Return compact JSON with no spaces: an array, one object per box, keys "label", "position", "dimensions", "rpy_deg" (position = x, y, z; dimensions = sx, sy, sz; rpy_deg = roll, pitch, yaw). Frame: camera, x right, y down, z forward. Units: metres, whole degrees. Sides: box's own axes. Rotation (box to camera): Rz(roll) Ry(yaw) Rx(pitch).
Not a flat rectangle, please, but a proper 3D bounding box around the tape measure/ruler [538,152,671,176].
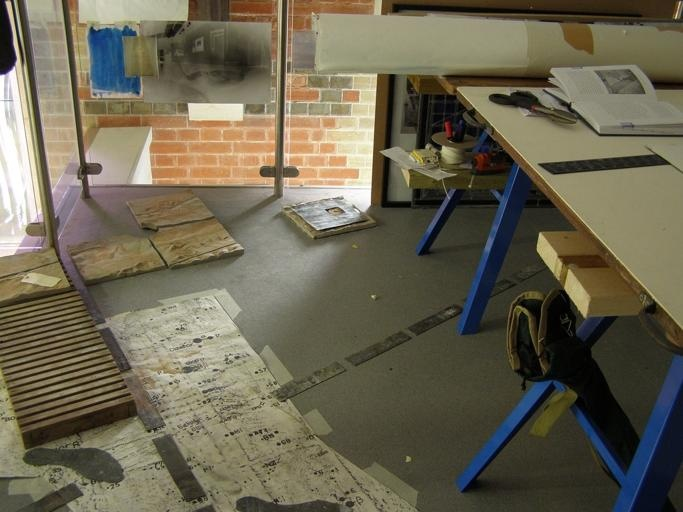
[{"label":"tape measure/ruler","position":[0.931,-0.328,1.721],"dimensions":[0.393,0.005,0.090],"rpy_deg":[-2,31,-7]}]
